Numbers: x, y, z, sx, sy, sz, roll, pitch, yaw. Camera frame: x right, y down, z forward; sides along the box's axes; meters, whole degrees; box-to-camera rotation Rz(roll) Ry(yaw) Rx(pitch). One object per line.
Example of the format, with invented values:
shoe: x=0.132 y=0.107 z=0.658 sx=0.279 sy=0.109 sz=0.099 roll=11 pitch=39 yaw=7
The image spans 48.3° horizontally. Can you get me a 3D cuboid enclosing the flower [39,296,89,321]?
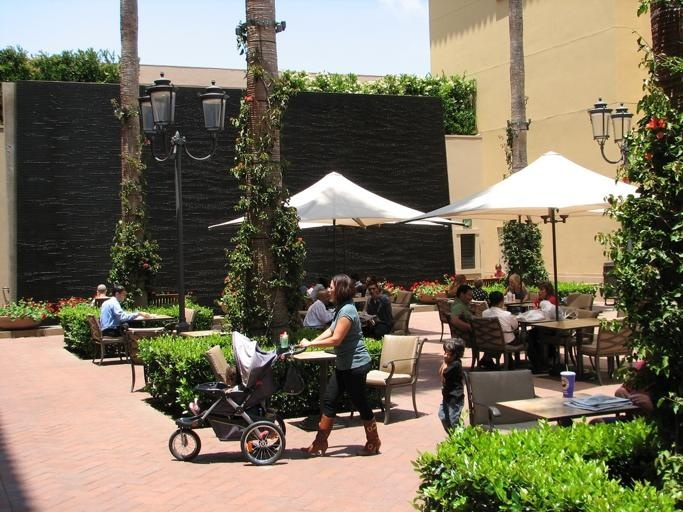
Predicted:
flower: x=-7.383 y=1.483 z=20.555 sx=1.092 sy=0.682 sz=1.424 roll=-5 pitch=10 yaw=-24

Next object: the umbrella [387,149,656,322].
umbrella: x=3.034 y=-0.312 z=12.700 sx=3.034 sy=2.049 sz=3.057 roll=-3 pitch=1 yaw=42

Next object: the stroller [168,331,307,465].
stroller: x=-1.254 y=1.656 z=9.009 sx=1.338 sy=1.467 sz=0.706 roll=1 pitch=10 yaw=16

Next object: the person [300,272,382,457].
person: x=0.010 y=1.300 z=8.905 sx=0.809 sy=2.070 sz=0.503 roll=-2 pitch=10 yaw=-2

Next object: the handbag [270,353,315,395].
handbag: x=-0.658 y=1.525 z=9.806 sx=0.441 sy=0.440 sz=0.871 roll=14 pitch=-27 yaw=7

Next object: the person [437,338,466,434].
person: x=1.260 y=1.514 z=8.807 sx=0.274 sy=1.009 sz=0.463 roll=0 pitch=10 yaw=7
